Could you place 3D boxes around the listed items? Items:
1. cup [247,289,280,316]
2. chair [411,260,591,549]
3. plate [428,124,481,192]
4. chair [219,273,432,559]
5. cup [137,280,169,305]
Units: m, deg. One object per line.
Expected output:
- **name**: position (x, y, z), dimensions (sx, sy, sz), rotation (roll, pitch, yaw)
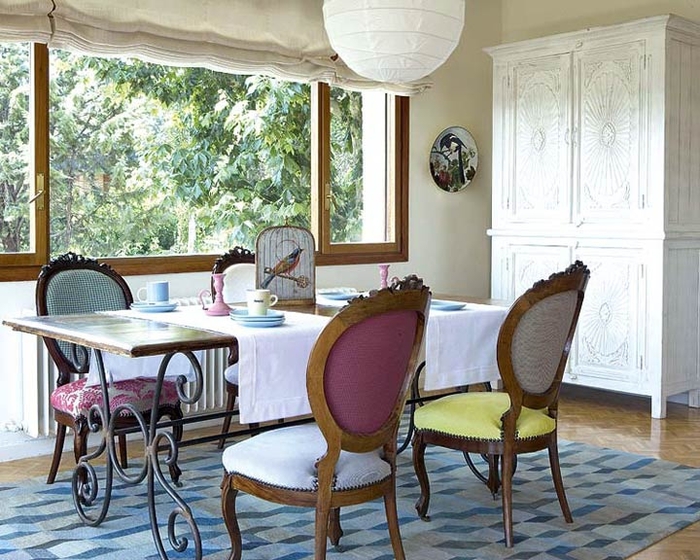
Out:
- **cup**: position (-0.341, 0.091, 2.330), dimensions (0.114, 0.094, 0.092), rotation (1, -1, -8)
- **chair**: position (0.628, 0.462, 2.445), dimensions (0.533, 1.050, 0.609), rotation (-3, 5, -33)
- **plate**: position (0.886, -1.030, 5.050), dimensions (0.526, 0.549, 0.087), rotation (-1, 3, -37)
- **chair**: position (-0.083, 0.462, 1.811), dimensions (0.631, 0.946, 0.375), rotation (1, 2, 8)
- **cup**: position (-0.947, 0.062, 2.856), dimensions (0.169, 0.131, 0.107), rotation (-2, 6, -32)
